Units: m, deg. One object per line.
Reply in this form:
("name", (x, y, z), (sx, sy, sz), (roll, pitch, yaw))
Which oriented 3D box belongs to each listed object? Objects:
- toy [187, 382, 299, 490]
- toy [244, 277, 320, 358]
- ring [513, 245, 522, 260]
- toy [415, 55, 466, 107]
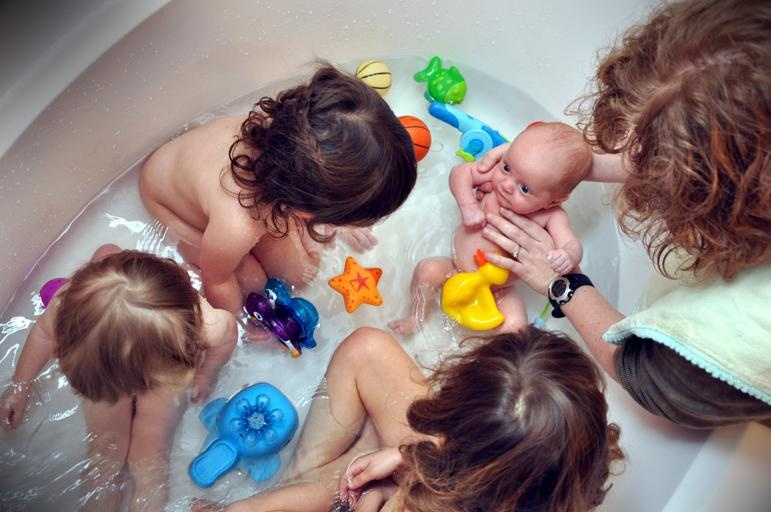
("toy", (-0.361, 0.453, 1.607), (0.252, 0.201, 0.085), (-39, -4, -19))
("toy", (-0.299, 0.151, 1.785), (0.177, 0.223, 0.095), (-43, -5, -23))
("ring", (0.362, -0.014, 1.755), (0.023, 0.024, 0.025), (-35, -24, -18))
("toy", (0.181, -0.538, 1.994), (0.154, 0.151, 0.078), (-51, -8, 9))
